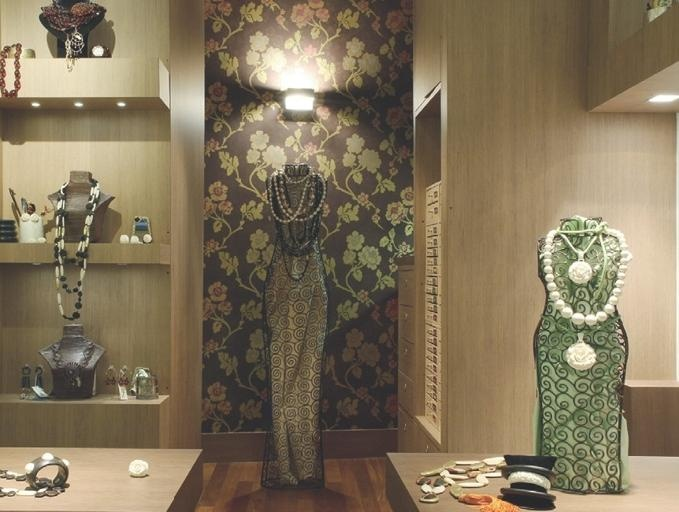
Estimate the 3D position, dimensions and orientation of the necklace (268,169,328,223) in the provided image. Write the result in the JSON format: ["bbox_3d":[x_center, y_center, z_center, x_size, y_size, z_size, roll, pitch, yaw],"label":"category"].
[{"bbox_3d":[-0.274,-0.388,4.298,0.343,0.399,0.130,-2,-3,0],"label":"necklace"}]

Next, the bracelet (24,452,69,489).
[{"bbox_3d":[-1.122,0.818,2.605,0.177,0.188,0.106,3,-1,-13],"label":"bracelet"}]

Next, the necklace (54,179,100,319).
[{"bbox_3d":[-1.481,-0.034,3.749,0.272,0.792,0.278,0,-6,-15],"label":"necklace"}]

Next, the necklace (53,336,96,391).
[{"bbox_3d":[-1.464,0.596,3.663,0.247,0.316,0.160,1,-14,-9],"label":"necklace"}]

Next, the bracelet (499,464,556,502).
[{"bbox_3d":[0.717,0.844,2.513,0.141,0.087,0.149,6,-25,9],"label":"bracelet"}]
